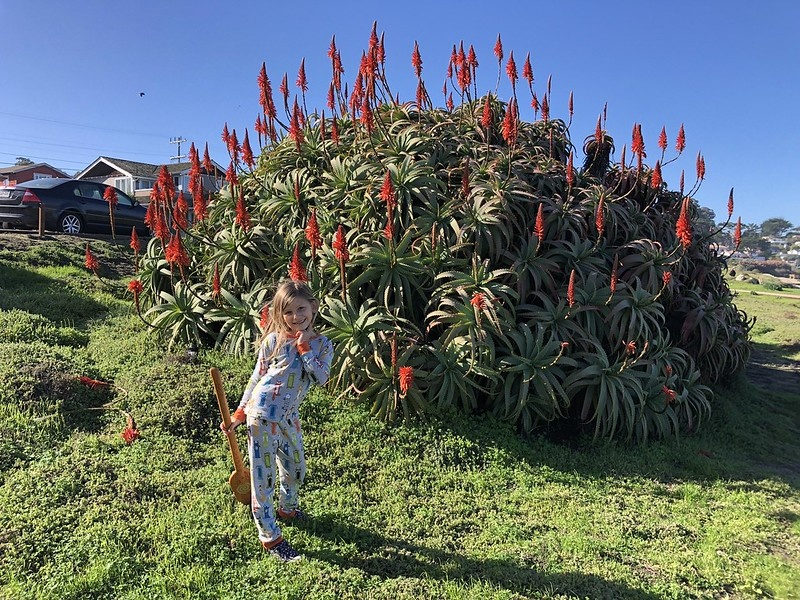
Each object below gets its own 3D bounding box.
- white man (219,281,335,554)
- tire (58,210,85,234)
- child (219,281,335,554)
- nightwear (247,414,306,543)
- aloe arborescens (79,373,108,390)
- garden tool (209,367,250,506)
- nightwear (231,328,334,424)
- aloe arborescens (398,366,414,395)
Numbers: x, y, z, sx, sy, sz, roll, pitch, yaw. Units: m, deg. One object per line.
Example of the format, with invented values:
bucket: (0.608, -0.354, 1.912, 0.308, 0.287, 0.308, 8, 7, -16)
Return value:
white man: (-0.936, 0.877, 4.883, 0.911, 2.294, 0.699, 0, 0, 35)
tire: (-7.077, -1.665, 12.480, 0.174, 0.529, 0.461, 5, 10, 30)
child: (-0.949, 0.970, 4.933, 0.910, 2.293, 0.704, 0, 0, 34)
nightwear: (-1.031, 1.341, 4.946, 0.403, 1.573, 0.403, -8, 18, -33)
aloe arborescens: (-3.313, 0.895, 6.285, 0.326, 0.132, 0.275, 0, -2, 19)
garden tool: (-1.382, 1.187, 4.974, 0.373, 1.204, 0.463, 2, 6, 13)
nightwear: (-1.012, 0.582, 5.005, 0.829, 0.872, 0.592, 5, 5, -29)
aloe arborescens: (0.050, 0.814, 5.872, 0.101, 0.130, 0.291, -4, -30, 0)
